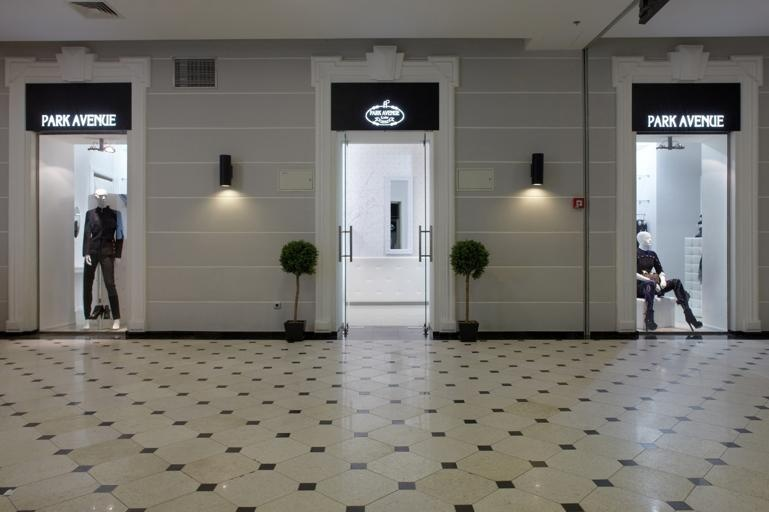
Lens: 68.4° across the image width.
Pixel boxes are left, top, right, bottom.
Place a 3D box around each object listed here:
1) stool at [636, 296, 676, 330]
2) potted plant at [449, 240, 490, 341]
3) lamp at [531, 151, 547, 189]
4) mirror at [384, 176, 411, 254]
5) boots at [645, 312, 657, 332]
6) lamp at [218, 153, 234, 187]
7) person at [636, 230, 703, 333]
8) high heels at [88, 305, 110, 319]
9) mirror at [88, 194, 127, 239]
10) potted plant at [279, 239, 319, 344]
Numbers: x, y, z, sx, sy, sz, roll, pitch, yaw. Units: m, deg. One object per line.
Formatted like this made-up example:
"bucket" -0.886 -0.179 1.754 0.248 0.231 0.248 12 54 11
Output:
"stool" 4.884 0.984 10.215 0.722 0.627 0.534 -1 -12 18
"potted plant" 1.358 0.527 9.268 0.564 1.591 0.721 6 14 25
"lamp" 2.531 -1.433 9.404 0.229 0.492 0.197 0 5 18
"mirror" 0.341 -0.949 13.343 0.758 1.833 0.063 -3 4 -39
"boots" 4.669 1.140 9.880 0.248 0.287 0.146 -5 14 -22
"lamp" -2.653 -1.426 9.456 0.226 0.489 0.195 0 5 -14
"person" 4.972 0.406 10.089 1.136 1.635 1.038 1 -1 -8
"high heels" -4.877 0.962 9.671 0.148 0.177 0.414 1 5 -6
"mirror" -4.684 -0.703 9.715 0.929 0.773 0.325 8 15 32
"potted plant" -1.384 0.537 9.276 0.585 1.593 0.555 -2 13 -8
